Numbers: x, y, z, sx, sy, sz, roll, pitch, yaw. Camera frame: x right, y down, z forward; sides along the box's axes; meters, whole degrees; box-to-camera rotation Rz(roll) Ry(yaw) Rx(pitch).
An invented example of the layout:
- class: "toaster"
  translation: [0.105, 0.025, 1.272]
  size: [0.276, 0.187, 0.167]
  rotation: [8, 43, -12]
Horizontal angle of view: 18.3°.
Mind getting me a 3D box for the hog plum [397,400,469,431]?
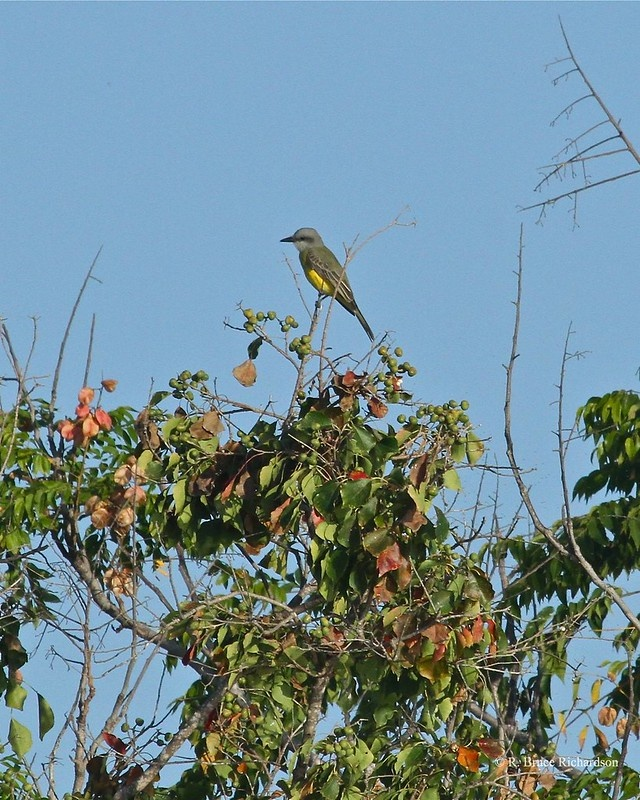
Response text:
- class: "hog plum"
  translation: [0.558, 0.086, 9.313]
  size: [0.283, 0.203, 0.108]
  rotation: [-8, -78, -44]
